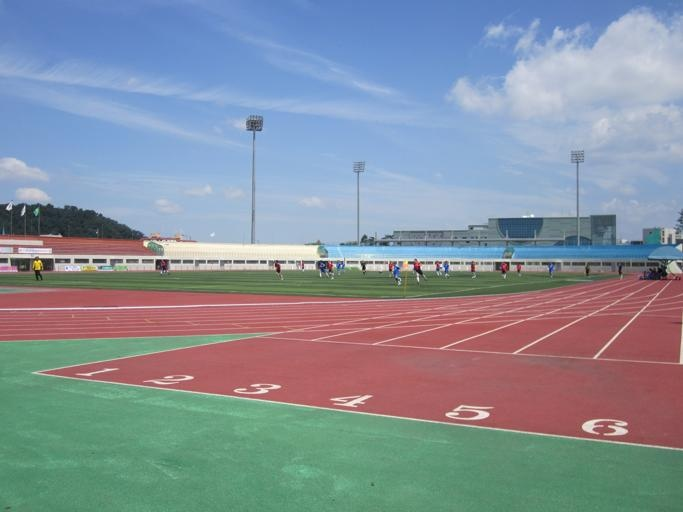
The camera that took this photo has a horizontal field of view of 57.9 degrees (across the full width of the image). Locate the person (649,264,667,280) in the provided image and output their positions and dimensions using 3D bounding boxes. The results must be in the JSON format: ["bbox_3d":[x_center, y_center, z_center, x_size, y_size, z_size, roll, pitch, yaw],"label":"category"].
[{"bbox_3d":[26.372,1.415,51.600,1.499,0.675,1.933,2,4,21],"label":"person"}]
